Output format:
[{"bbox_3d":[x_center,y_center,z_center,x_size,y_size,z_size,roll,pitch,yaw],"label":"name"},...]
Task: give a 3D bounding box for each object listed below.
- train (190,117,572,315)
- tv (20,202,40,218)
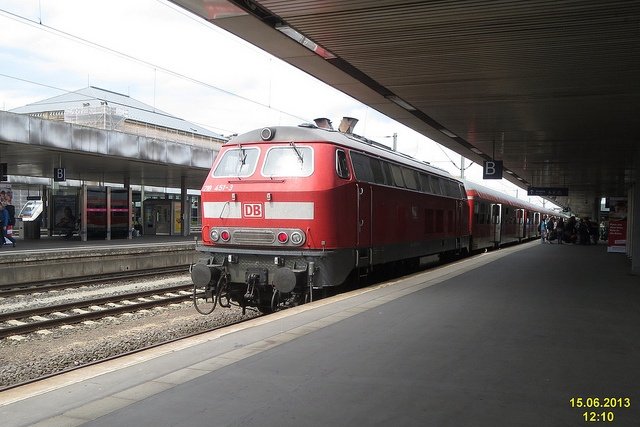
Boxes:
[{"bbox_3d":[3.766,-0.290,20.272,4.125,5.865,24.424,2,2,33],"label":"train"},{"bbox_3d":[-27.972,-0.464,39.199,1.495,1.056,2.485,0,-2,-6],"label":"tv"}]
